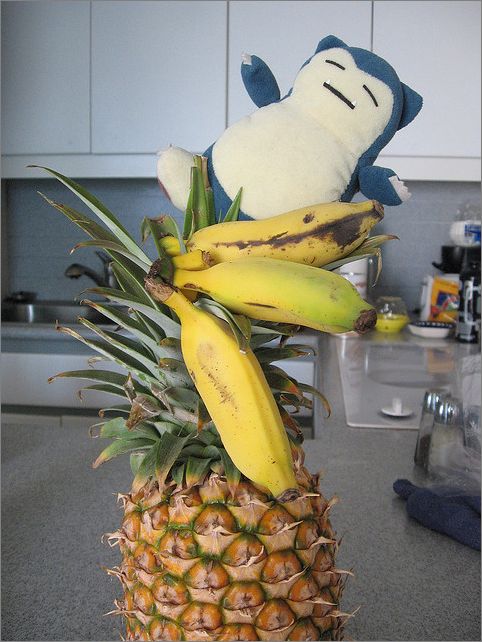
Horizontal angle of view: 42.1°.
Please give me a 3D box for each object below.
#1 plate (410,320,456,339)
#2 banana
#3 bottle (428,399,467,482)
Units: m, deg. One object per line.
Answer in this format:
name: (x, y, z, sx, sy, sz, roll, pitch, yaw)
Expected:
plate: (0.580, 0.026, 1.916, 0.128, 0.049, 0.128, 4, 14, 17)
banana: (0.019, 0.025, 0.450, 0.151, 0.218, 0.111, 3, 15, 11)
bottle: (0.265, 0.153, 0.812, 0.040, 0.095, 0.055, 0, 15, 3)
